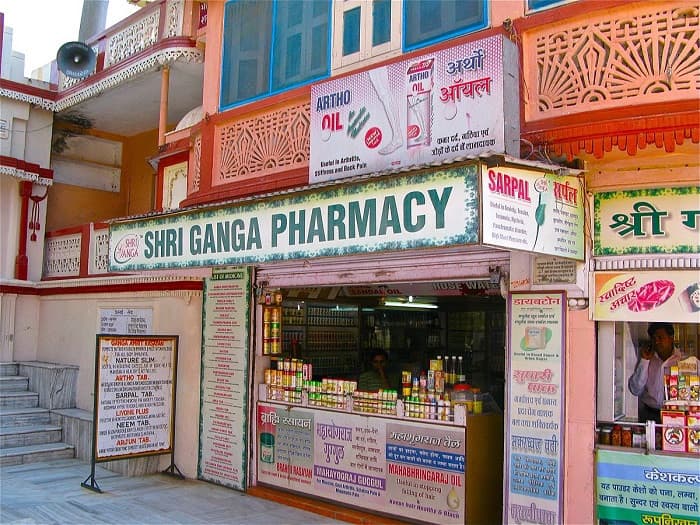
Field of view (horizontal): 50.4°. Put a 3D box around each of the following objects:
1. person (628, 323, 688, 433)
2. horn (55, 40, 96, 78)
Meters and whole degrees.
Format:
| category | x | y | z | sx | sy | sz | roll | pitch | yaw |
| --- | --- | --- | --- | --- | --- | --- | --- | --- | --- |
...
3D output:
| category | x | y | z | sx | sy | sz | roll | pitch | yaw |
| --- | --- | --- | --- | --- | --- | --- | --- | --- | --- |
| person | 3.667 | 1.287 | 8.865 | 0.637 | 1.158 | 0.408 | -3 | -9 | 26 |
| horn | -5.392 | -3.998 | 14.620 | 0.745 | 0.682 | 0.432 | 4 | -9 | -22 |
